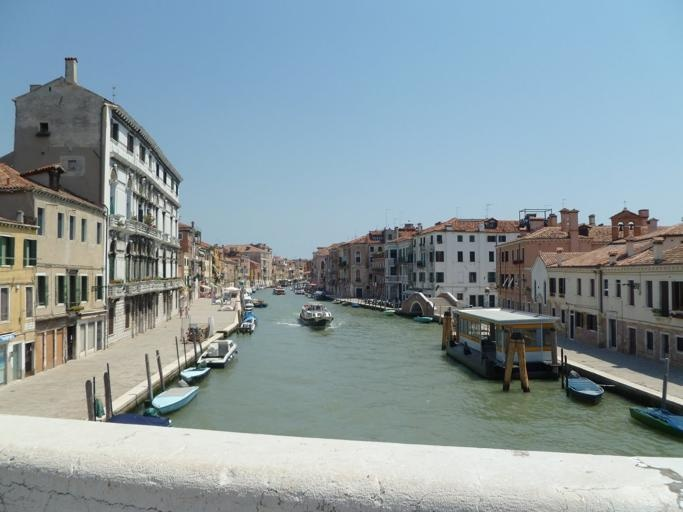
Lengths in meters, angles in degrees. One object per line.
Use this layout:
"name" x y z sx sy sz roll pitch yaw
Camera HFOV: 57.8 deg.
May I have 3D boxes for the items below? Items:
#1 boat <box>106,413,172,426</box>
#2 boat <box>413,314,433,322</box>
"boat" -8.282 6.688 25.434 2.196 0.423 1.510 9 -10 -38
"boat" 9.708 7.161 71.457 2.256 0.684 1.072 -2 -9 32
